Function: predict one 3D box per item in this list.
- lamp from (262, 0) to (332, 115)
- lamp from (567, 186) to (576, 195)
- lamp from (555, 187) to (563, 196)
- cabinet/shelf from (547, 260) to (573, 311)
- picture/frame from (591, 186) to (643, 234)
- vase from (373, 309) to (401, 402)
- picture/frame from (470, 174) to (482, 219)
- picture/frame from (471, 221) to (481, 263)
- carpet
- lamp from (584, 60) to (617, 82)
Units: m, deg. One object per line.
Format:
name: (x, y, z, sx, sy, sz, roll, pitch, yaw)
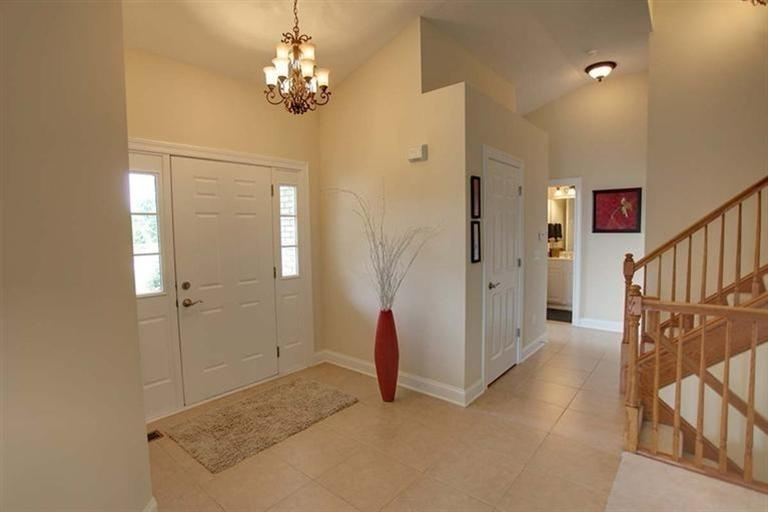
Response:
lamp: (-0.831, -1.868, 4.781, 0.702, 1.099, 1.403, -3, 4, -12)
lamp: (3.200, -1.117, 8.298, 0.071, 0.187, 0.884, -1, 3, 19)
lamp: (3.182, -1.186, 8.864, 0.113, 0.125, 0.111, -8, 8, -32)
cabinet/shelf: (3.059, 0.479, 8.463, 0.517, 0.899, 0.248, 1, 6, 44)
picture/frame: (3.357, -0.670, 6.940, 0.643, 0.705, 0.050, 1, 1, 36)
vase: (0.027, 1.021, 5.026, 0.224, 0.961, 0.167, -2, 4, 8)
picture/frame: (0.936, -0.607, 4.984, 0.032, 0.441, 0.225, 1, 5, 30)
picture/frame: (0.951, -0.152, 5.038, 0.032, 0.431, 0.226, -5, 1, 27)
carpet: (-1.202, 1.613, 4.798, 1.634, 0.319, 0.915, -5, 4, -41)
lamp: (2.816, -2.438, 6.392, 0.257, 0.134, 0.269, 1, -7, -3)
